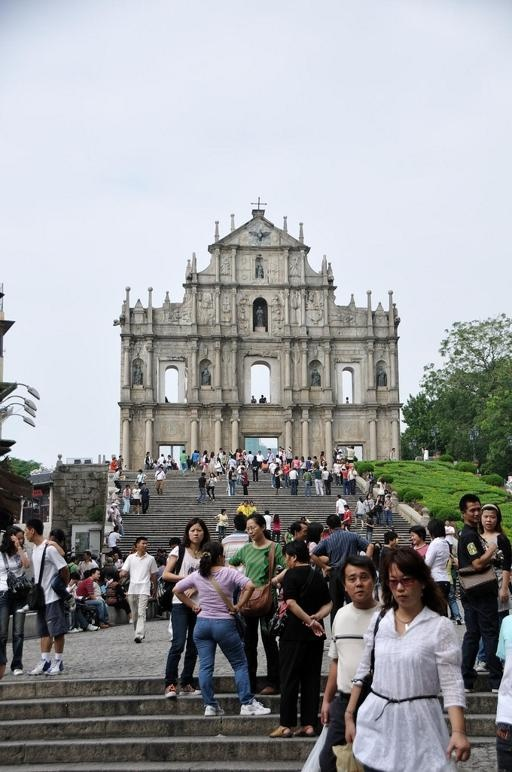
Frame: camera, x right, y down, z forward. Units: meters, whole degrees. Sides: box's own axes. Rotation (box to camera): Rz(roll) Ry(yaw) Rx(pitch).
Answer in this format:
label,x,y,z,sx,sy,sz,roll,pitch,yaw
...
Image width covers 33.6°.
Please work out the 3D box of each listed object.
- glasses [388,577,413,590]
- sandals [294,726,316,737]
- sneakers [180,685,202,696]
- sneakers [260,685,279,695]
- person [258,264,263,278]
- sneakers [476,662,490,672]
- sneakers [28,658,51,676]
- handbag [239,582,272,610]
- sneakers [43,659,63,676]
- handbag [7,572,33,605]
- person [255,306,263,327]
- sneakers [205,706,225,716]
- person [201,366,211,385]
label,x,y,z,sx,sy,sz,roll,pitch,yaw
glasses,0.665,0.904,3.901,0.067,0.023,0.071,-11,-26,25
sandals,0.389,2.778,6.842,0.071,0.081,0.197,4,-9,-23
sneakers,-0.616,2.847,7.912,0.217,0.107,0.076,-2,-7,12
sneakers,0.128,2.842,7.903,0.174,0.077,0.065,8,-14,-14
person,0.248,-6.873,50.722,0.454,0.880,0.210,2,-7,-19
sneakers,2.271,2.836,8.520,0.078,0.104,0.242,-2,-25,11
sneakers,-2.253,2.964,8.895,0.249,0.180,0.093,6,-12,-6
handbag,-0.017,1.890,7.626,0.328,0.340,0.187,-4,-5,14
sneakers,-2.137,3.020,8.972,0.078,0.168,0.236,-7,-39,17
handbag,-2.567,2.204,9.213,0.146,0.362,0.284,-12,-19,0
person,0.251,-4.143,50.575,0.470,1.345,0.329,1,-7,-11
sneakers,-0.364,2.795,7.314,0.164,0.112,0.179,0,-7,-4
person,-2.939,-0.613,49.578,0.522,1.092,0.216,1,-7,-11
